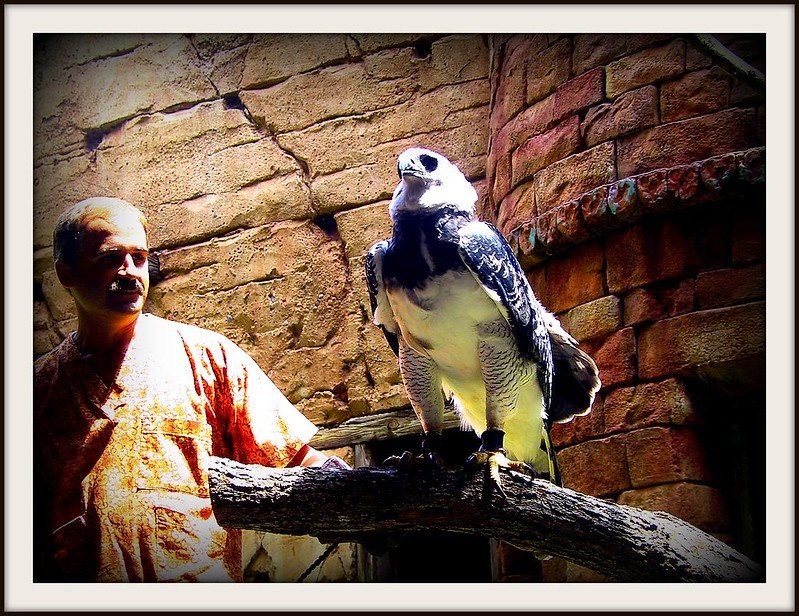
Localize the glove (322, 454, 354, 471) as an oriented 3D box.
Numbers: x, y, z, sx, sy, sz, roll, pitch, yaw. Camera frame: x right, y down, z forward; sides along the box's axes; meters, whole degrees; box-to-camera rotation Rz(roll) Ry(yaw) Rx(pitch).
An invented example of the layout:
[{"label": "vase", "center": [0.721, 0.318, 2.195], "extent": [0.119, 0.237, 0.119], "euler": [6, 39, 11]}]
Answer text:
[{"label": "glove", "center": [-0.323, 0.798, 7.735], "extent": [0.165, 0.047, 0.157], "euler": [1, -1, 45]}]

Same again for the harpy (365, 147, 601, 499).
[{"label": "harpy", "center": [0.392, 0.048, 7.079], "extent": [0.949, 1.618, 0.682], "euler": [-13, -2, -15]}]
